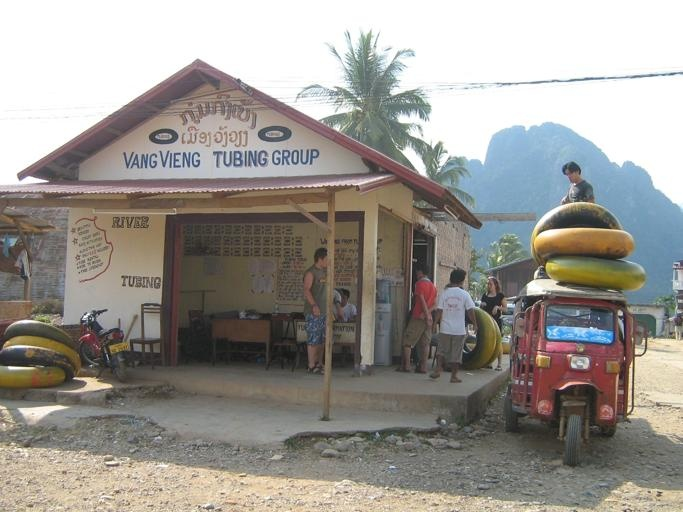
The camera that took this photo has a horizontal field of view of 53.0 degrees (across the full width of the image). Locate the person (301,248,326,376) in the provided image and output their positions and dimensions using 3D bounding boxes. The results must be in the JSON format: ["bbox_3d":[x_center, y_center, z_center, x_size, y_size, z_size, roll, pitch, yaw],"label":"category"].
[{"bbox_3d":[-0.472,1.013,12.070,0.385,2.207,0.729,2,8,-1],"label":"person"}]

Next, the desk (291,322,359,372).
[{"bbox_3d":[-0.344,1.621,13.201,1.181,0.802,0.741,5,3,-12],"label":"desk"}]

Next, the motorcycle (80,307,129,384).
[{"bbox_3d":[-4.076,1.523,11.866,0.457,1.024,1.603,2,-2,-42],"label":"motorcycle"}]

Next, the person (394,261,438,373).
[{"bbox_3d":[1.404,1.182,12.625,0.885,1.824,0.574,0,0,17],"label":"person"}]

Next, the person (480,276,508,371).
[{"bbox_3d":[3.178,1.389,14.216,0.582,1.910,0.453,-1,-1,25],"label":"person"}]

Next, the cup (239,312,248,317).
[{"bbox_3d":[-1.929,1.164,13.411,0.112,0.104,0.111,0,-4,0],"label":"cup"}]

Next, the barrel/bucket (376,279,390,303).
[{"bbox_3d":[0.782,0.679,13.106,0.347,0.431,0.219,0,8,-20],"label":"barrel/bucket"}]

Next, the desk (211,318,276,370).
[{"bbox_3d":[-1.908,1.666,13.063,0.987,0.955,1.070,6,2,-23],"label":"desk"}]

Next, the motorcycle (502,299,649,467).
[{"bbox_3d":[3.201,1.792,9.738,1.674,2.262,1.540,1,-2,15],"label":"motorcycle"}]
